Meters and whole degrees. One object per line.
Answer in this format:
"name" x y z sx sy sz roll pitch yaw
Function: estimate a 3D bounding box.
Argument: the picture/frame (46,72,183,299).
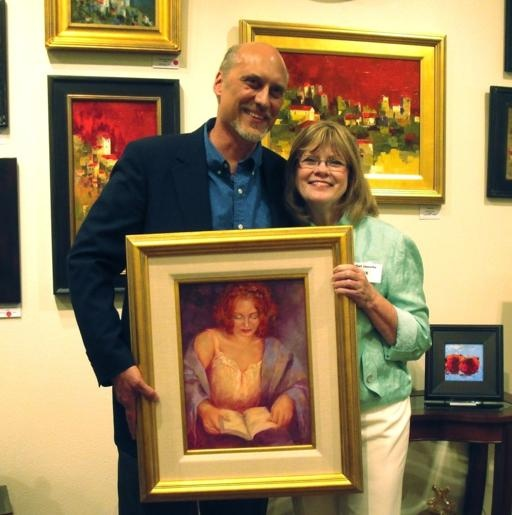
"picture/frame" -0.604 -0.412 2.878 0.614 0.090 1.249 -1 48 -16

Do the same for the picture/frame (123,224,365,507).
"picture/frame" -0.036 0.348 2.150 0.646 1.004 0.088 -3 -1 1

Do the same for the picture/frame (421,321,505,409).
"picture/frame" 0.942 0.498 2.969 0.337 0.462 0.042 0 -9 4
